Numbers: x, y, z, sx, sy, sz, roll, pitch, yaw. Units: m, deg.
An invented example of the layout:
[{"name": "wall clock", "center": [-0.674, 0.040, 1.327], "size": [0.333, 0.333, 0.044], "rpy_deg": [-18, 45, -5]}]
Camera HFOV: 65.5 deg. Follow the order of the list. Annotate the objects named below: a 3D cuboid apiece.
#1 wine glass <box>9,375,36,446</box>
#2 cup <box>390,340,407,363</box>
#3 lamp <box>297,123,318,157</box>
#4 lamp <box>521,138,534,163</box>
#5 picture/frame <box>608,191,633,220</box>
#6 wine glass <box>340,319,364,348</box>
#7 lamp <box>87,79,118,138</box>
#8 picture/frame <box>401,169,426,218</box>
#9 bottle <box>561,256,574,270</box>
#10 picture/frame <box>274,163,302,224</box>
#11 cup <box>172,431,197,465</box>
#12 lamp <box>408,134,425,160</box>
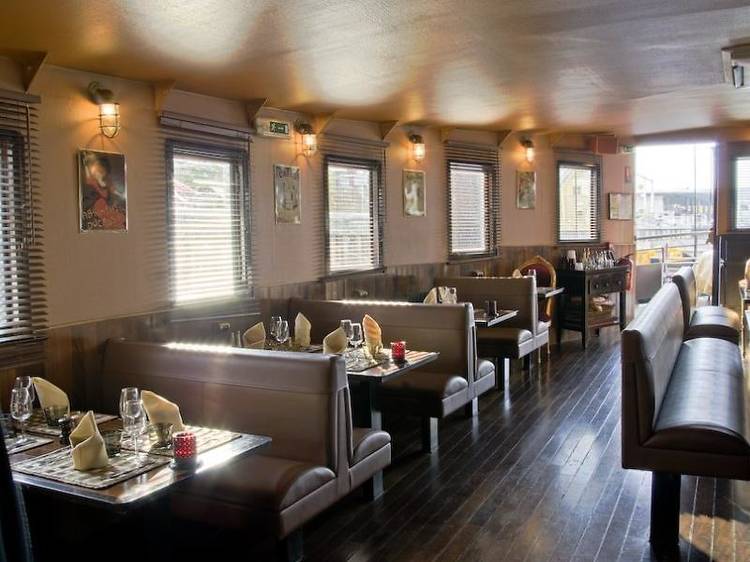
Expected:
[{"name": "wine glass", "center": [-2.097, 0.736, 3.459], "size": [0.125, 0.330, 0.417], "rpy_deg": [-6, 9, -32]}, {"name": "cup", "center": [0.172, 0.552, 4.632], "size": [0.127, 0.167, 0.137], "rpy_deg": [-1, 1, 0]}, {"name": "lamp", "center": [-0.708, -1.562, 6.434], "size": [0.154, 0.363, 0.298], "rpy_deg": [4, 9, 34]}, {"name": "lamp", "center": [2.405, -2.052, 9.070], "size": [0.118, 0.370, 0.322], "rpy_deg": [5, 9, 38]}, {"name": "picture/frame", "center": [4.208, -1.316, 10.052], "size": [0.500, 0.367, 0.067], "rpy_deg": [-2, 0, -41]}, {"name": "wine glass", "center": [-0.156, 0.417, 4.814], "size": [0.223, 0.217, 0.219], "rpy_deg": [-5, 7, -44]}, {"name": "lamp", "center": [-2.120, -1.363, 4.605], "size": [0.178, 0.443, 0.253], "rpy_deg": [6, 10, 44]}, {"name": "picture/frame", "center": [0.489, -1.164, 7.675], "size": [0.061, 0.885, 0.633], "rpy_deg": [3, 4, 42]}, {"name": "bottle", "center": [3.105, -0.299, 9.393], "size": [0.195, 0.235, 0.201], "rpy_deg": [0, 0, 24]}, {"name": "picture/frame", "center": [-0.940, -0.939, 6.234], "size": [0.081, 0.607, 0.395], "rpy_deg": [3, 9, 32]}, {"name": "cup", "center": [-0.959, 0.827, 2.941], "size": [0.128, 0.137, 0.128], "rpy_deg": [2, 3, 0]}, {"name": "lamp", "center": [0.592, -1.794, 7.731], "size": [0.123, 0.348, 0.291], "rpy_deg": [5, 10, 40]}]
